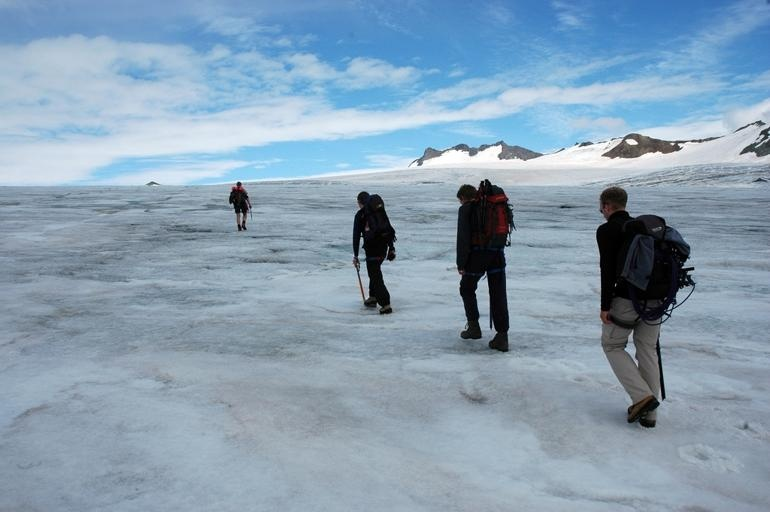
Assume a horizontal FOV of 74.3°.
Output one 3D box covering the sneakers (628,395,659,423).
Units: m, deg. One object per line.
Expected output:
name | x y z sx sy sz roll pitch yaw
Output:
sneakers | 2.862 1.674 5.602 0.161 0.354 0.175 30 19 -24

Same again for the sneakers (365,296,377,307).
sneakers | -0.264 0.839 9.333 0.184 0.134 0.257 0 5 -30

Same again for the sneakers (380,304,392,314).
sneakers | 0.022 0.942 8.951 0.161 0.103 0.190 -2 -2 17

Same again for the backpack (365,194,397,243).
backpack | -0.104 -0.642 9.024 0.477 0.901 0.448 -5 15 -1
